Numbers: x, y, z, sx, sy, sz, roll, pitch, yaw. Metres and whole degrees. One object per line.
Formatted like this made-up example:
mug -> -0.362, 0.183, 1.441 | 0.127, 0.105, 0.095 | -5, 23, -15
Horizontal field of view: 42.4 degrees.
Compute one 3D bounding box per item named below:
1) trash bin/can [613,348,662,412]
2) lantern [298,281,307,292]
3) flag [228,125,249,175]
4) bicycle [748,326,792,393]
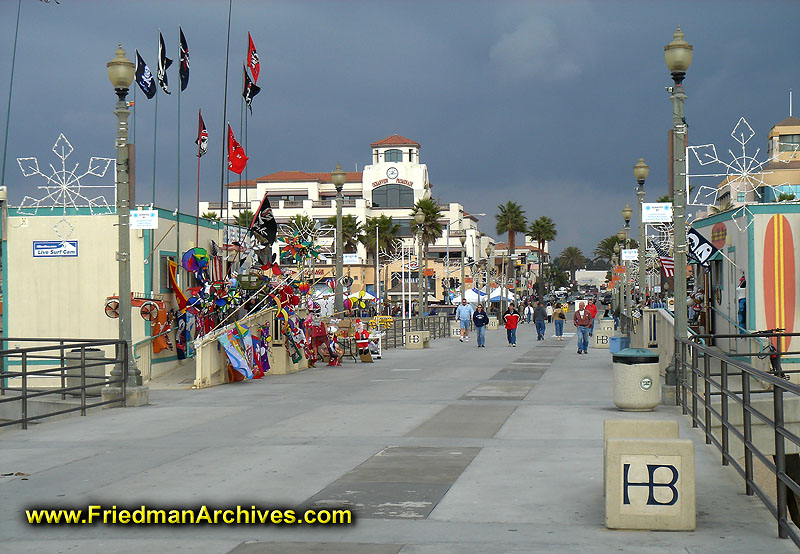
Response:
trash bin/can -> 4.586, 1.992, 20.131 | 1.220, 1.639, 1.083 | 0, -3, -3
lantern -> -2.884, 0.288, 31.317 | 0.154, 0.300, 0.534 | -2, 0, 21
flag -> -5.115, -4.009, 32.586 | 0.568, 1.600, 2.709 | -2, 0, -8
bicycle -> 8.656, 1.644, 24.001 | 0.449, 1.237, 7.661 | -2, 0, 20
